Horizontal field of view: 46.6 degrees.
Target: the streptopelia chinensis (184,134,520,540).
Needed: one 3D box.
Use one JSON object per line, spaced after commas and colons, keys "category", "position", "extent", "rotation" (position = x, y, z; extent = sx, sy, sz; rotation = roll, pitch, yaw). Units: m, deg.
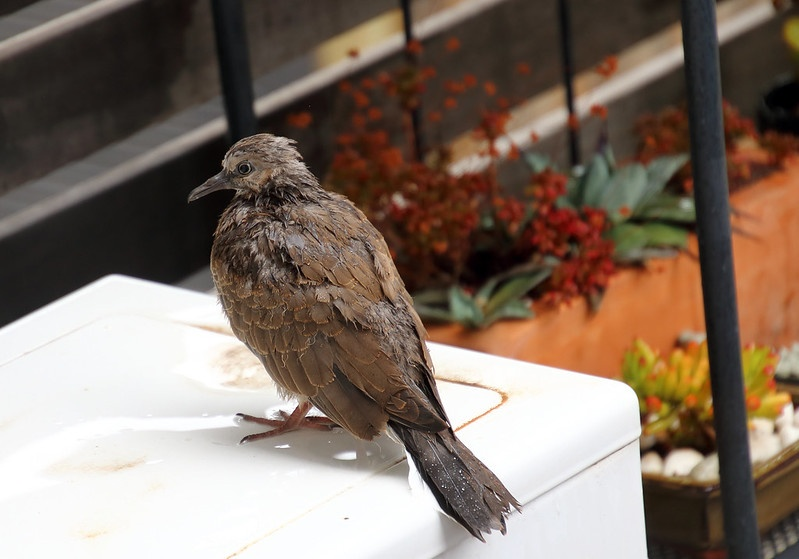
{"category": "streptopelia chinensis", "position": [-0.075, 0.039, 1.433], "extent": [0.638, 0.418, 0.276], "rotation": [24, 28, 35]}
